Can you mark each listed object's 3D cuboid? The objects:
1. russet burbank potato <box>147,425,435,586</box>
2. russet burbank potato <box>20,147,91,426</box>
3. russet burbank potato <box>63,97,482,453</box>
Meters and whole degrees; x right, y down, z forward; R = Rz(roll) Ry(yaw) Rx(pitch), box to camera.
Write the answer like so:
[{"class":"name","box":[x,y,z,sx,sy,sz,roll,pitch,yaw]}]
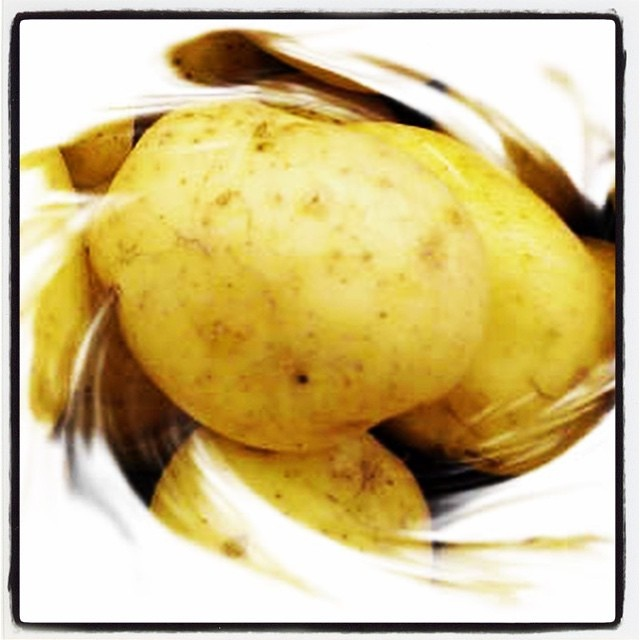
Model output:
[{"class":"russet burbank potato","box":[-0.049,0.252,1.516,0.289,0.104,0.250,3,54,-12]},{"class":"russet burbank potato","box":[-0.305,-0.046,1.511,0.093,0.301,0.198,-12,41,-14]},{"class":"russet burbank potato","box":[-0.043,-0.068,1.497,0.479,0.249,0.453,-20,66,-14]}]
